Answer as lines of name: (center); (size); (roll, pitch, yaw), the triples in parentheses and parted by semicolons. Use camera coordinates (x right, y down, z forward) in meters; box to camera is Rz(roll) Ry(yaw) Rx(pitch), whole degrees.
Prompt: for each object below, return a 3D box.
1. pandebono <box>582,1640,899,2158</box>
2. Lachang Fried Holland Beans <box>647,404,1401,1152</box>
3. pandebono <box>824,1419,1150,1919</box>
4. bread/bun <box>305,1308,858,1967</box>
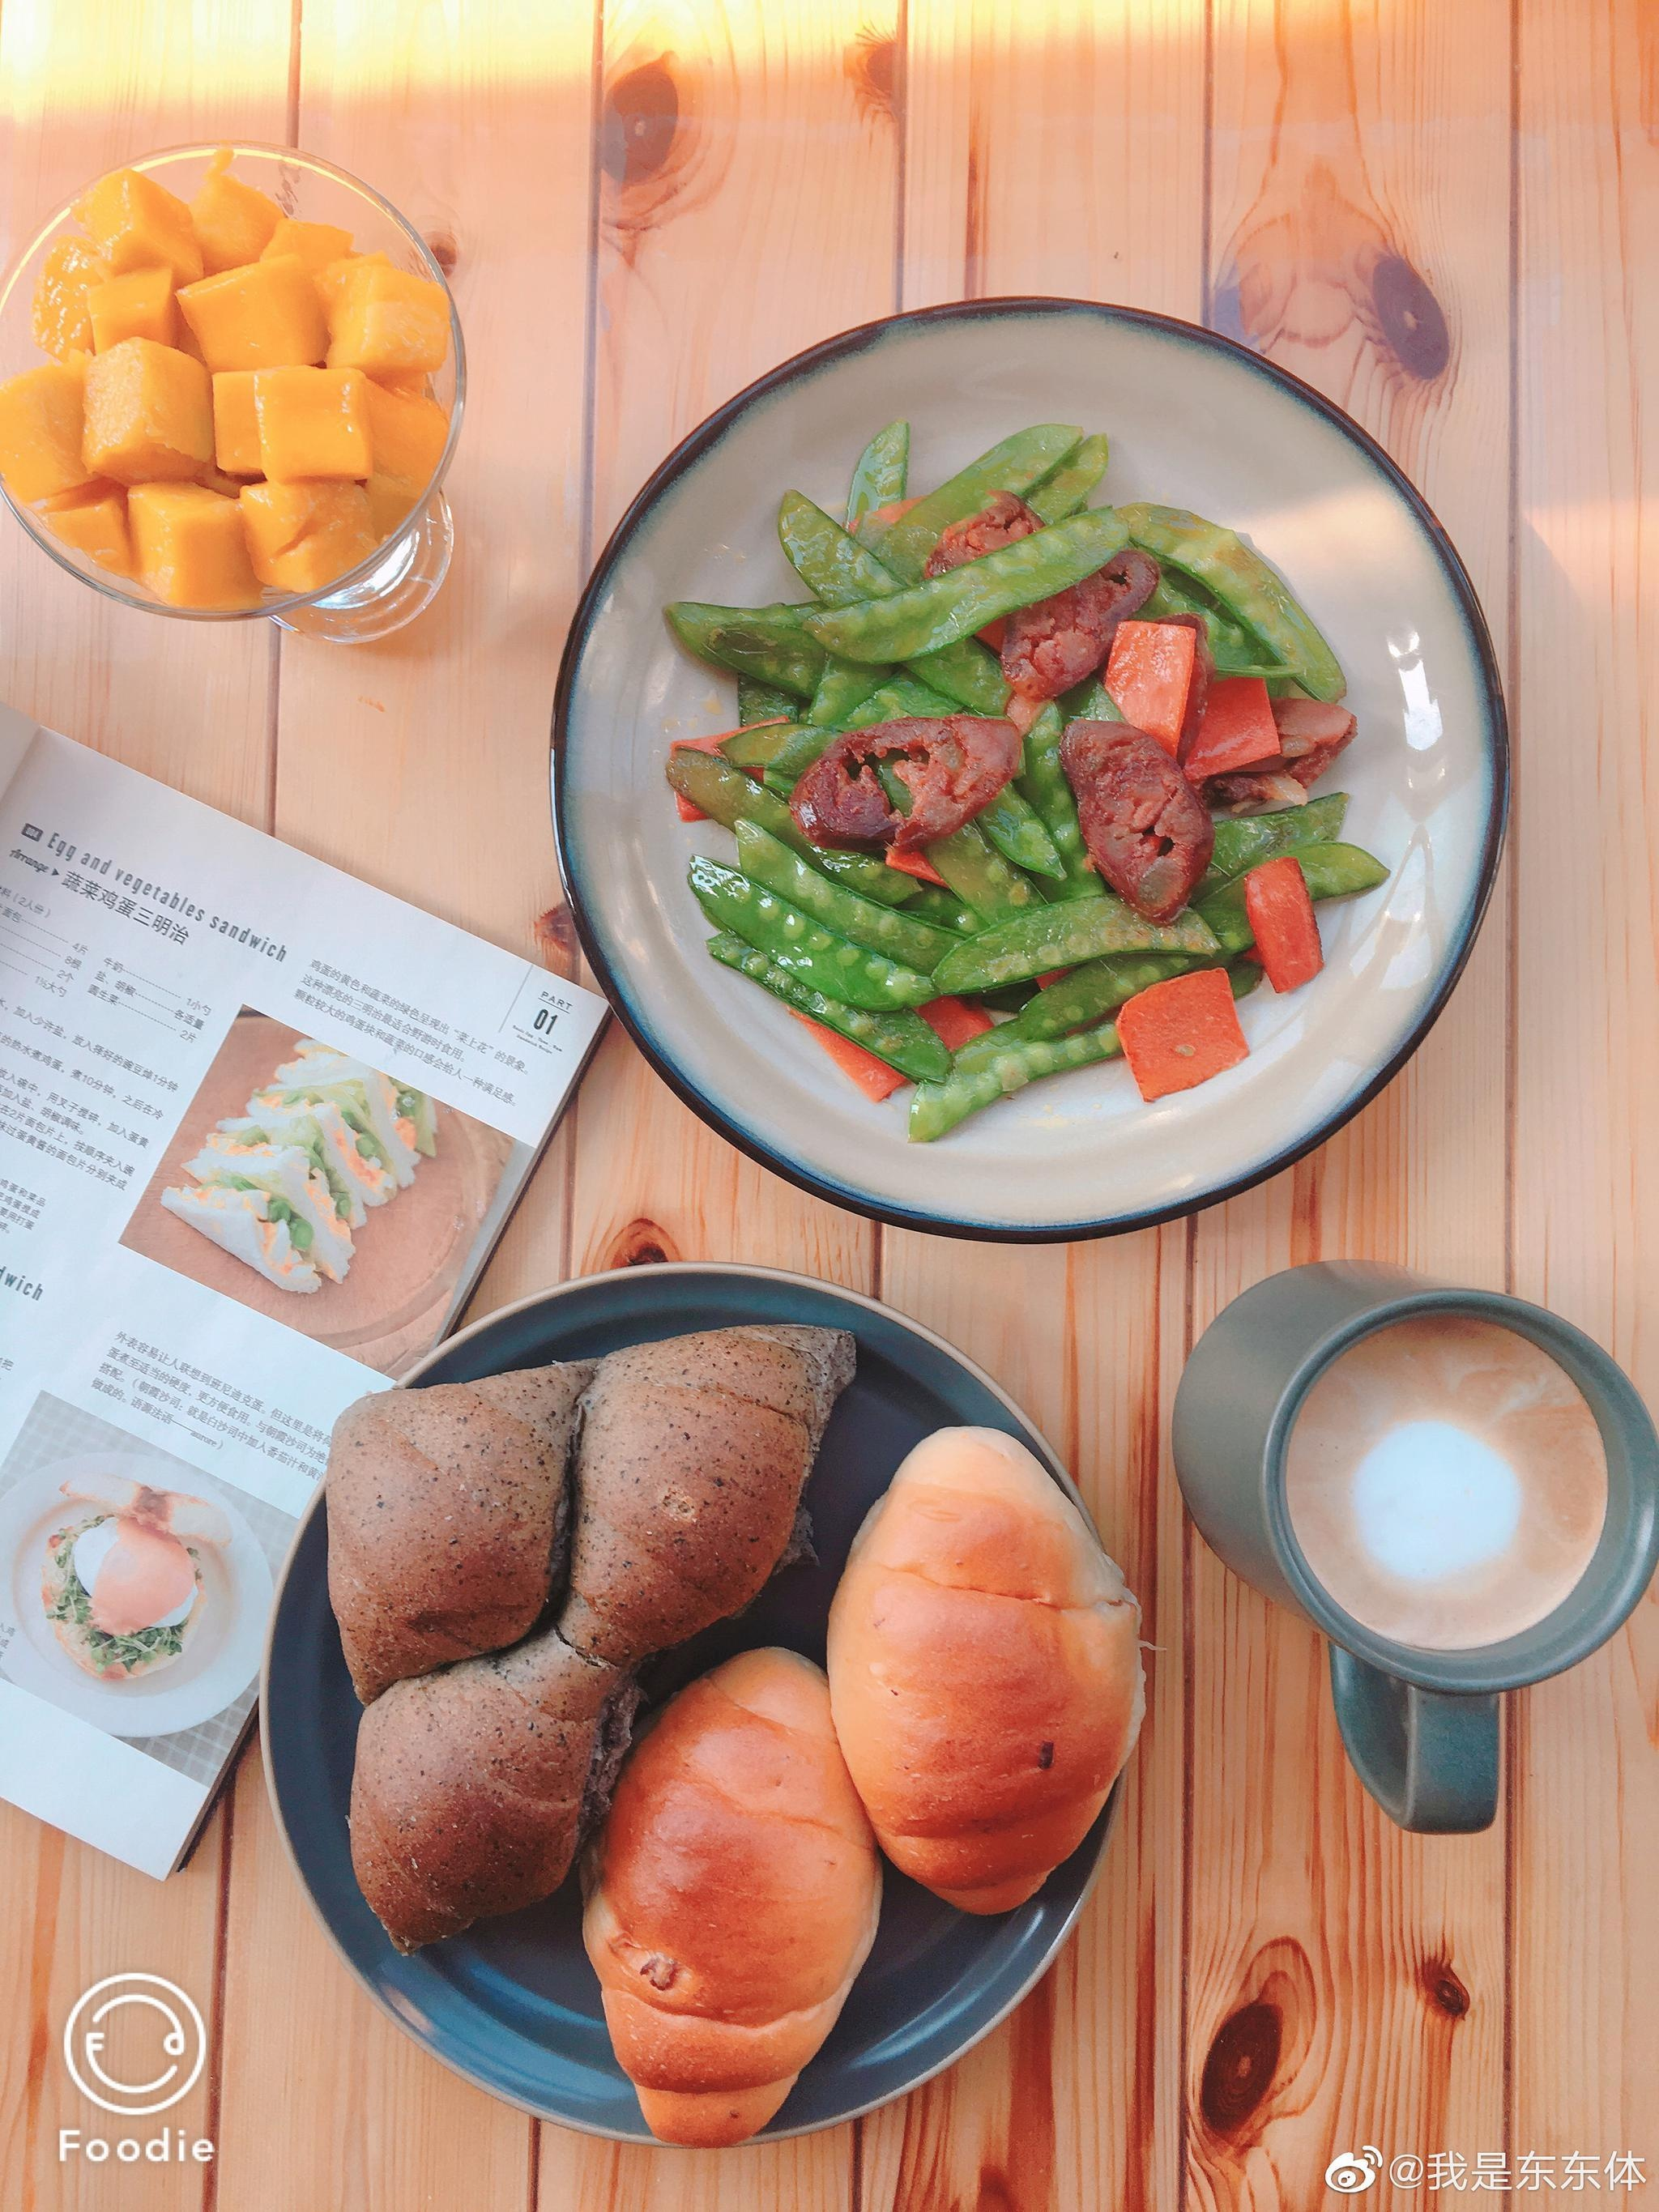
pandebono: (-0.044, 0.364, 0.960); (0.152, 0.076, 0.233); (3, 56, 6)
Lachang Fried Holland Beans: (0.091, -0.166, 1.046); (0.330, 0.130, 0.354); (-44, 73, -10)
pandebono: (0.073, 0.269, 0.948); (0.146, 0.064, 0.202); (1, 81, 9)
bread/bun: (-0.103, 0.237, 0.946); (0.276, 0.108, 0.242); (-13, 70, 0)
